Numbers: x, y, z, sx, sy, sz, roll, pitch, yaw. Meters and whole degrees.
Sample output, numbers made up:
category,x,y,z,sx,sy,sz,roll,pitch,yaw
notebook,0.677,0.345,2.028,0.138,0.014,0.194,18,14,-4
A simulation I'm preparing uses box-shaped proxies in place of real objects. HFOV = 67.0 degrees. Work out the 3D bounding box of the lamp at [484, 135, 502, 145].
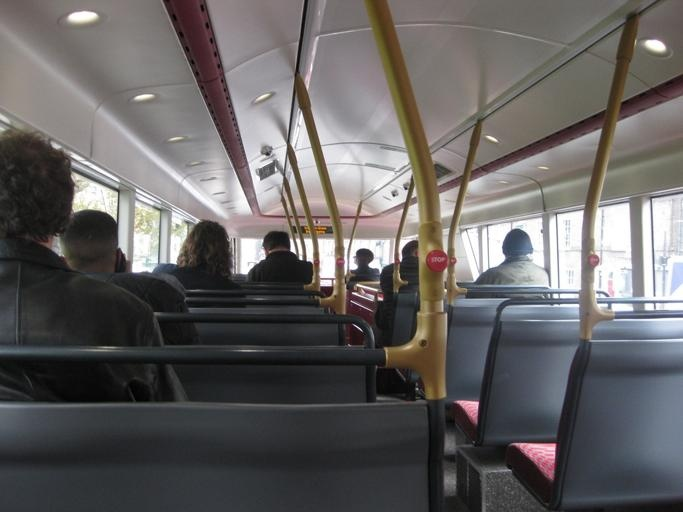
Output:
category,x,y,z,sx,sy,sz,roll,pitch,yaw
lamp,1.579,-1.225,5.446,0.155,0.049,0.249,0,-3,29

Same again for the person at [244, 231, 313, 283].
category,x,y,z,sx,sy,sz,roll,pitch,yaw
person,-0.652,0.134,5.536,0.740,0.824,0.436,-5,-6,-18

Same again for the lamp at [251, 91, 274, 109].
category,x,y,z,sx,sy,sz,roll,pitch,yaw
lamp,-0.698,-1.411,4.625,0.197,0.081,0.301,2,-2,-14

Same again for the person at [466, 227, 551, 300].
category,x,y,z,sx,sy,sz,roll,pitch,yaw
person,1.893,0.060,5.806,0.865,0.678,0.434,0,6,2

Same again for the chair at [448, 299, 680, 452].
category,x,y,z,sx,sy,sz,roll,pitch,yaw
chair,1.238,0.712,2.890,1.263,0.907,0.697,3,-3,-17

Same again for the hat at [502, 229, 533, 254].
category,x,y,z,sx,sy,sz,roll,pitch,yaw
hat,1.689,-0.127,4.962,0.206,0.269,0.284,1,-4,-3

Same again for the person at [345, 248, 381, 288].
category,x,y,z,sx,sy,sz,roll,pitch,yaw
person,0.371,0.208,8.786,0.523,0.695,0.769,1,-2,2
